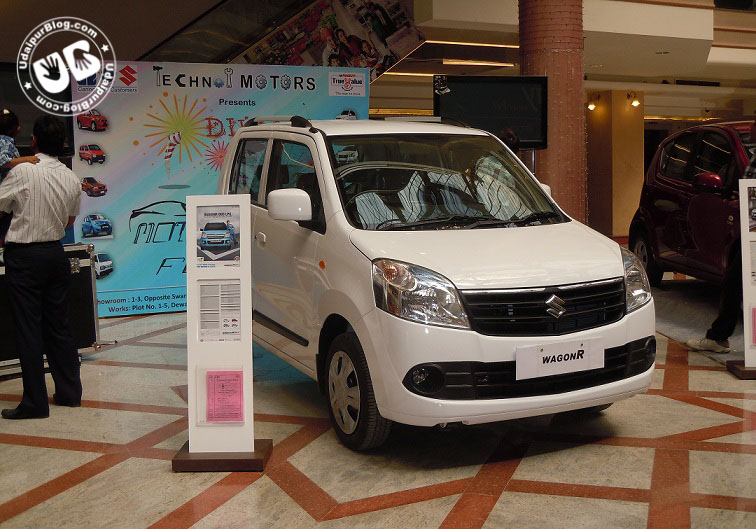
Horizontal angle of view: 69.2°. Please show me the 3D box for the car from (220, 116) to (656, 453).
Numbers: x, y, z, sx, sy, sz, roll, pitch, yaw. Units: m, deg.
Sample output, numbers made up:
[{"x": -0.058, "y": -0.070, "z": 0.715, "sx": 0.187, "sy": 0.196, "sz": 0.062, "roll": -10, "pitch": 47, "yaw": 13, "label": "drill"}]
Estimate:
[{"x": 0.030, "y": -0.106, "z": 4.196, "sx": 1.920, "sy": 1.596, "sz": 3.068, "roll": -2, "pitch": 5, "yaw": -28, "label": "car"}]

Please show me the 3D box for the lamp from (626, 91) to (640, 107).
[{"x": 8.142, "y": -5.208, "z": 17.430, "sx": 0.587, "sy": 0.448, "sz": 0.170, "roll": -7, "pitch": 11, "yaw": -34, "label": "lamp"}]

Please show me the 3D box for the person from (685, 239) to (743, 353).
[{"x": 3.281, "y": 0.391, "z": 5.348, "sx": 0.419, "sy": 0.922, "sz": 0.628, "roll": 4, "pitch": 11, "yaw": 31, "label": "person"}]

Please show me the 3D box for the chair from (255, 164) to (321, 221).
[{"x": -0.621, "y": -0.528, "z": 3.969, "sx": 0.431, "sy": 0.449, "sz": 0.611, "roll": 4, "pitch": 3, "yaw": 11, "label": "chair"}]

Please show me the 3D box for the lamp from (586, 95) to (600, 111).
[{"x": 6.953, "y": -5.228, "z": 17.868, "sx": 0.239, "sy": 0.531, "sz": 0.570, "roll": -2, "pitch": 9, "yaw": -3, "label": "lamp"}]
